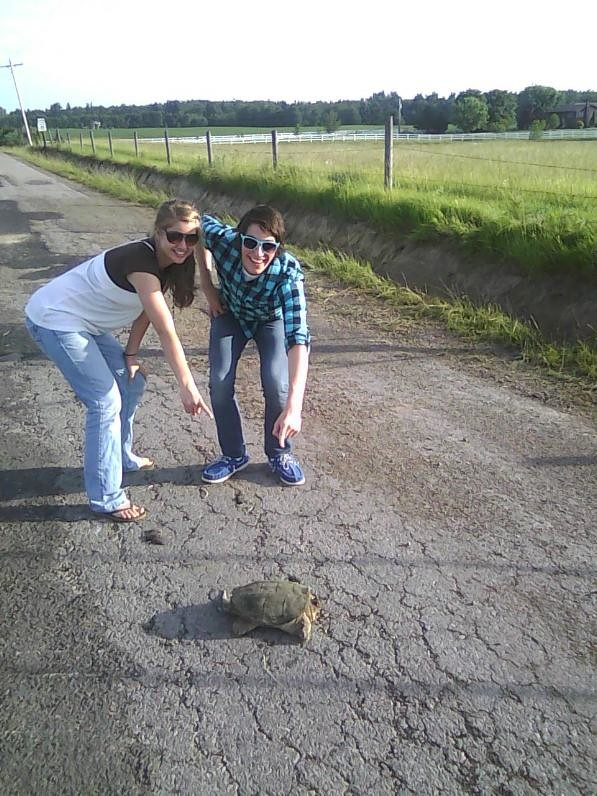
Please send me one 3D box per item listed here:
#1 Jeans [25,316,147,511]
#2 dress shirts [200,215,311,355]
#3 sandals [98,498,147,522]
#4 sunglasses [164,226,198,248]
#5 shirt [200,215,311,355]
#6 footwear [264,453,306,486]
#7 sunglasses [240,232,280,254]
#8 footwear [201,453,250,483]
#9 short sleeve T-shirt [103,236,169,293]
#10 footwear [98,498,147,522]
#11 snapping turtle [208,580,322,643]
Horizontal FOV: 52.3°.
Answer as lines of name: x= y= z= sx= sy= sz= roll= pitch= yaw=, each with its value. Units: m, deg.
Jeans: x=-1.190 y=0.127 z=3.435 sx=0.418 sy=1.128 sz=0.444 roll=-13 pitch=57 yaw=-16
dress shirts: x=-0.240 y=-0.635 z=3.353 sx=0.516 sy=0.850 sz=0.397 roll=2 pitch=-14 yaw=-1
sandals: x=-0.934 y=0.582 z=3.216 sx=0.191 sy=0.081 sz=0.103 roll=-1 pitch=28 yaw=-11
sunglasses: x=-0.537 y=-0.752 z=2.860 sx=0.061 sy=0.091 sz=0.177 roll=20 pitch=31 yaw=35
shirt: x=-0.231 y=-0.653 z=3.446 sx=0.516 sy=0.850 sz=0.397 roll=2 pitch=-14 yaw=-1
footwear: x=-0.081 y=0.414 z=3.601 sx=0.118 sy=0.109 sz=0.258 roll=-16 pitch=32 yaw=-27
sunglasses: x=-0.207 y=-0.782 z=3.068 sx=0.199 sy=0.090 sz=0.143 roll=0 pitch=25 yaw=0
footwear: x=-0.438 y=0.412 z=3.663 sx=0.107 sy=0.115 sz=0.318 roll=12 pitch=22 yaw=38
short sleeve T-shirt: x=-0.764 y=-0.620 z=2.890 sx=0.269 sy=0.353 sz=0.199 roll=8 pitch=6 yaw=-32
footwear: x=-0.926 y=0.586 z=3.204 sx=0.191 sy=0.081 sz=0.103 roll=-1 pitch=28 yaw=-11
snapping turtle: x=-0.138 y=0.878 z=2.523 sx=0.313 sy=0.099 sz=0.217 roll=4 pitch=37 yaw=-1
